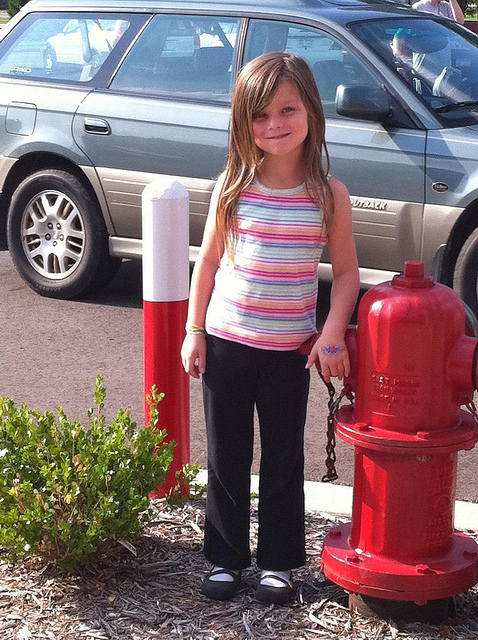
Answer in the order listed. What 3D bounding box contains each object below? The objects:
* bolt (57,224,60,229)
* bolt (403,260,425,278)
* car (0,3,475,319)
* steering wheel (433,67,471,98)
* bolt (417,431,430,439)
[{"bbox_3d":[-1.378,-0.716,4.909,0.021,0.019,0.019,1,-8,0],"label":"bolt"},{"bbox_3d":[0.386,-0.111,1.410,0.044,0.032,0.042,-2,5,-11],"label":"bolt"},{"bbox_3d":[-0.075,-1.336,5.008,3.701,1.531,2.034,4,8,26],"label":"car"},{"bbox_3d":[1.364,-1.527,4.156,0.142,0.224,0.387,6,11,30],"label":"steering wheel"},{"bbox_3d":[0.387,0.238,1.345,0.027,0.011,0.016,1,10,4],"label":"bolt"}]
